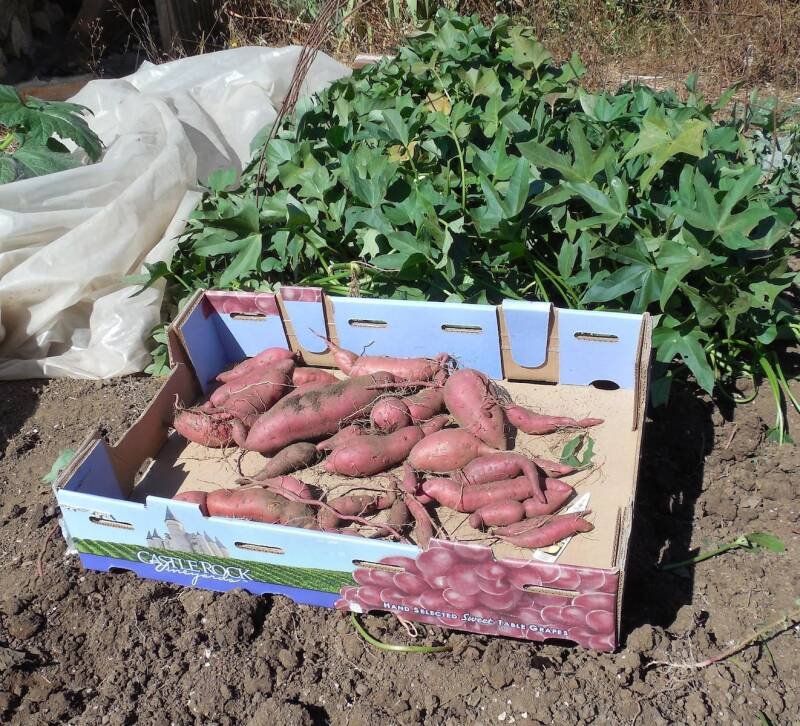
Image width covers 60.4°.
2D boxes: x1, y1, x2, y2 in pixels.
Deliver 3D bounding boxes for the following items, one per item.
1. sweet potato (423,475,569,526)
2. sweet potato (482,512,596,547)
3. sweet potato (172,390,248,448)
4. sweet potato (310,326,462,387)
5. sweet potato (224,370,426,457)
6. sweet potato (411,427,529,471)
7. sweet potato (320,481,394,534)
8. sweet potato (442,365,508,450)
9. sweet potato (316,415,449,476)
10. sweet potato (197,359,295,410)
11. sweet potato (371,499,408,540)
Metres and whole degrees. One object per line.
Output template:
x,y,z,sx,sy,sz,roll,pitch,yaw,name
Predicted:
0.262,0.420,2.075,0.474,0.130,0.154,1,49,12,sweet potato
0.391,0.479,1.921,0.285,0.063,0.094,-17,32,7,sweet potato
-0.667,0.201,2.346,0.182,0.074,0.145,25,24,9,sweet potato
-0.075,-0.001,2.451,0.512,0.188,0.129,12,6,1,sweet potato
-0.245,0.172,2.345,0.619,0.181,0.159,-12,23,-8,sweet potato
0.180,0.267,2.156,0.322,0.130,0.153,-5,54,-12,sweet potato
-0.128,0.431,2.072,0.200,0.057,0.100,-6,-9,-23,sweet potato
0.269,0.094,2.234,0.256,0.120,0.136,12,28,31,sweet potato
-0.062,0.269,2.216,0.460,0.132,0.140,-17,19,-1,sweet potato
-0.533,0.073,2.398,0.292,0.094,0.153,-26,28,-1,sweet potato
-0.027,0.472,2.019,0.066,0.038,0.140,34,73,-4,sweet potato
